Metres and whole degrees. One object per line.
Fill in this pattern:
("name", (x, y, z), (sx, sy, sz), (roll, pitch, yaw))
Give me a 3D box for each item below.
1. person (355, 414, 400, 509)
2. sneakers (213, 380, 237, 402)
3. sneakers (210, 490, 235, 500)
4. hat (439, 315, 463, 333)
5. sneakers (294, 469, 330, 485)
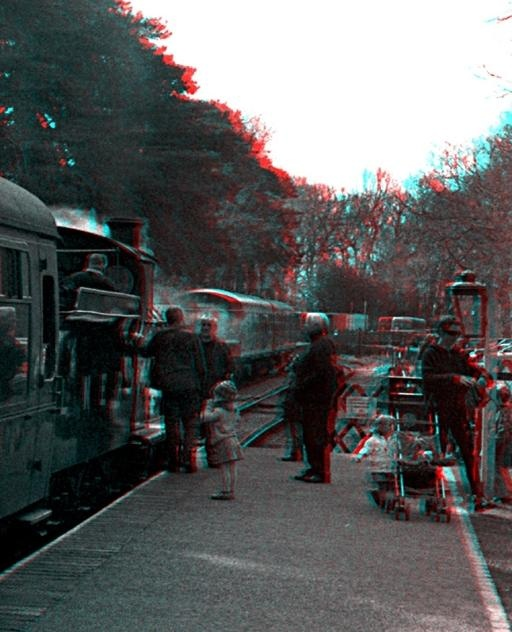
("person", (1.131, 1.380, 5.136), (0.411, 0.843, 0.504), (0, -7, 13))
("sneakers", (-0.314, 0.833, 5.650), (0.194, 0.223, 0.235), (-2, -42, -11))
("sneakers", (-0.326, 1.777, 5.375), (0.230, 0.089, 0.084), (3, 1, 12))
("hat", (2.115, 0.099, 5.904), (0.239, 0.168, 0.164), (-15, 16, -32))
("sneakers", (0.681, 1.895, 6.350), (0.190, 0.083, 0.241), (4, -5, -37))
